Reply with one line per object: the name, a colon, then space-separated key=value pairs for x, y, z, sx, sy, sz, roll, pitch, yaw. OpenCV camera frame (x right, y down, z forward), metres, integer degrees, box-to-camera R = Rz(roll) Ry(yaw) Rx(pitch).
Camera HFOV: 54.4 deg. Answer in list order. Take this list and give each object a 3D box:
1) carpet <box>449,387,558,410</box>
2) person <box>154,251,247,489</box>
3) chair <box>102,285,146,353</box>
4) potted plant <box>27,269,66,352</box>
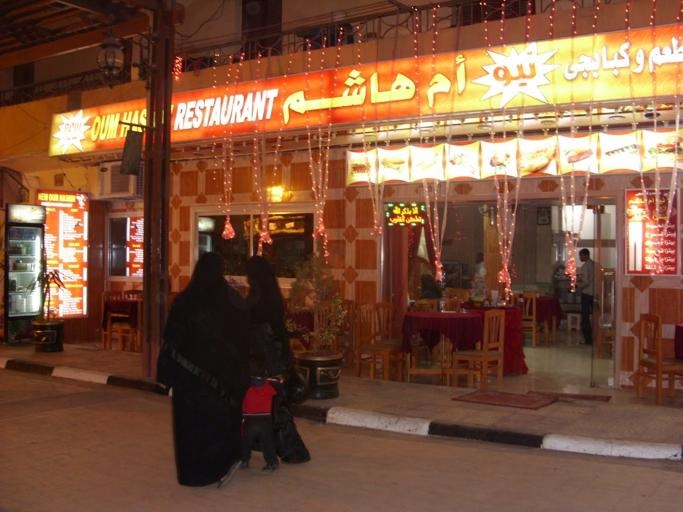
carpet: x=2.402 y=2.084 z=9.660 sx=1.379 sy=0.122 sz=1.063 roll=-2 pitch=-5 yaw=26
person: x=-1.394 y=1.133 z=6.698 sx=0.892 sy=2.316 sz=0.257 roll=1 pitch=-5 yaw=-9
chair: x=-4.838 y=1.396 z=14.618 sx=0.800 sy=1.339 sz=1.990 roll=2 pitch=-5 yaw=-19
potted plant: x=-6.360 y=1.163 z=14.448 sx=0.588 sy=1.769 sz=1.709 roll=3 pitch=-5 yaw=-24
